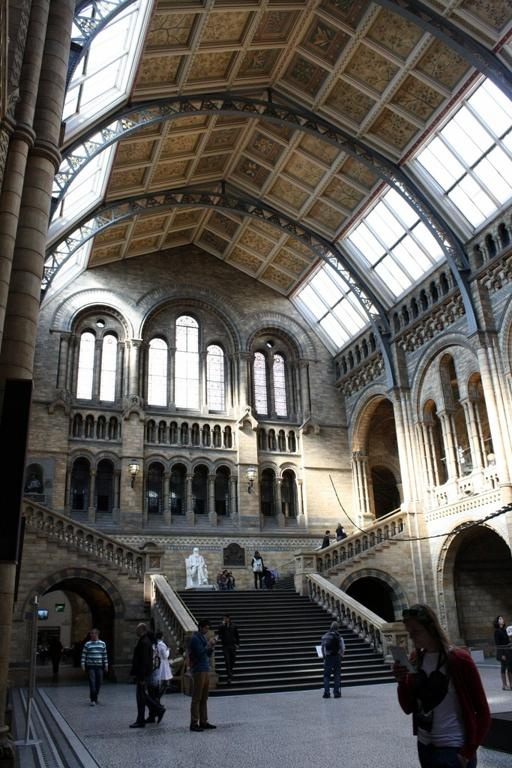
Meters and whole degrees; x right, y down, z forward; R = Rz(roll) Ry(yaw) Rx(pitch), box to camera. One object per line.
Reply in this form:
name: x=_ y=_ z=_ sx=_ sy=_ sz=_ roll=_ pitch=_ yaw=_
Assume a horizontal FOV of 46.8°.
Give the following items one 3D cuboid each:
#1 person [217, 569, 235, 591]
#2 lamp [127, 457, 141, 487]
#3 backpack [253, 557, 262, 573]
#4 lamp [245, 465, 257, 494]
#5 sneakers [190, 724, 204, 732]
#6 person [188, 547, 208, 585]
person: x=-1.208 y=7.996 z=24.067 sx=0.352 sy=0.726 sz=0.930 roll=-7 pitch=-16 yaw=13
lamp: x=-5.369 y=3.894 z=26.148 sx=0.530 sy=1.315 sz=1.184 roll=0 pitch=-16 yaw=-10
backpack: x=0.118 y=7.636 z=24.951 sx=0.444 sy=0.616 sz=0.322 roll=4 pitch=-18 yaw=-21
lamp: x=-0.144 y=4.599 z=28.484 sx=0.545 sy=1.297 sz=0.662 roll=-1 pitch=-16 yaw=-8
sneakers: x=-0.828 y=4.849 z=8.330 sx=0.147 sy=0.086 sz=0.075 roll=-12 pitch=-21 yaw=30
person: x=-2.225 y=7.158 z=22.906 sx=0.702 sy=1.297 sz=0.847 roll=10 pitch=-21 yaw=-38
